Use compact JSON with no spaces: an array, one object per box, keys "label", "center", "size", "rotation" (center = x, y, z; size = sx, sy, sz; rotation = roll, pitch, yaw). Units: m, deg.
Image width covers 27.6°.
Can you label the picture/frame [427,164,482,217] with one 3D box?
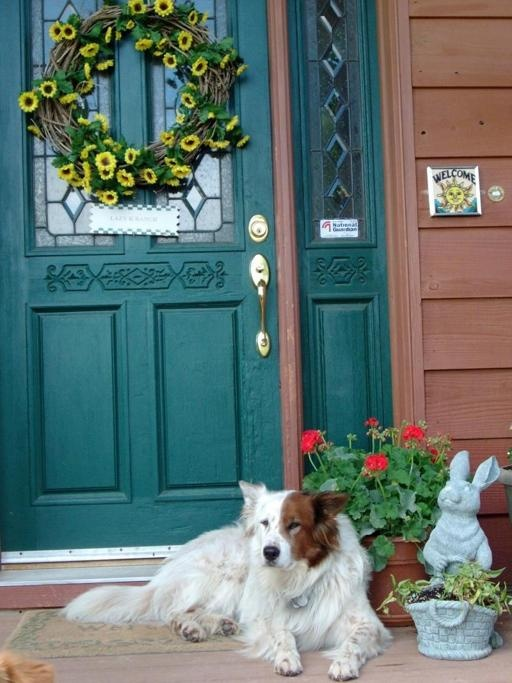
[{"label":"picture/frame","center":[0.798,-0.609,4.248],"size":[0.234,0.212,0.029],"rotation":[-1,2,-8]}]

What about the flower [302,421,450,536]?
[{"label":"flower","center":[0.427,0.492,3.907],"size":[0.531,0.418,0.510],"rotation":[-1,6,-15]}]
